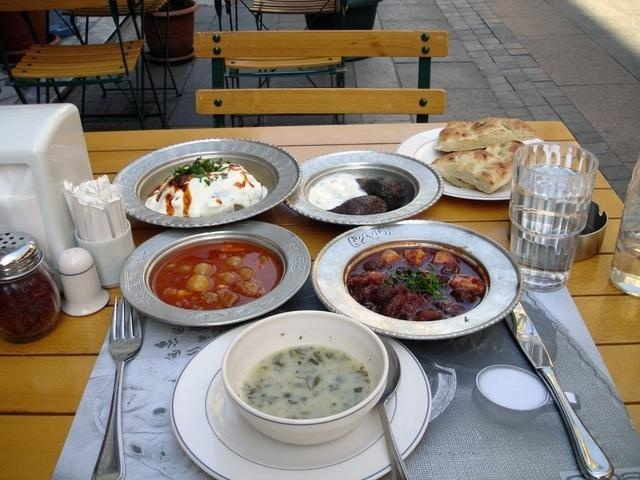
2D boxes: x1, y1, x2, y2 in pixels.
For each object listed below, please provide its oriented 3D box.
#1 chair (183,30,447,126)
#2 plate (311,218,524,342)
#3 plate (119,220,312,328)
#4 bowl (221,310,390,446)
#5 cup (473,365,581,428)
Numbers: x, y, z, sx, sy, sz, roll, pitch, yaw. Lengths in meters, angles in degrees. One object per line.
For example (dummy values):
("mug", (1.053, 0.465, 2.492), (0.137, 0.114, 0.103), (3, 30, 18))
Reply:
("chair", (-0.006, -0.610, 2.214), (1.122, 0.594, 0.325), (2, 48, 3))
("plate", (0.220, 0.092, 1.133), (0.503, 0.072, 0.440), (6, 32, 11))
("plate", (-0.218, 0.083, 1.170), (0.425, 0.381, 0.049), (-15, 51, -1))
("bowl", (-0.010, 0.308, 0.904), (0.266, 0.077, 0.239), (-3, 5, 2))
("cup", (0.385, 0.283, 0.916), (0.157, 0.049, 0.082), (4, 36, 4))
